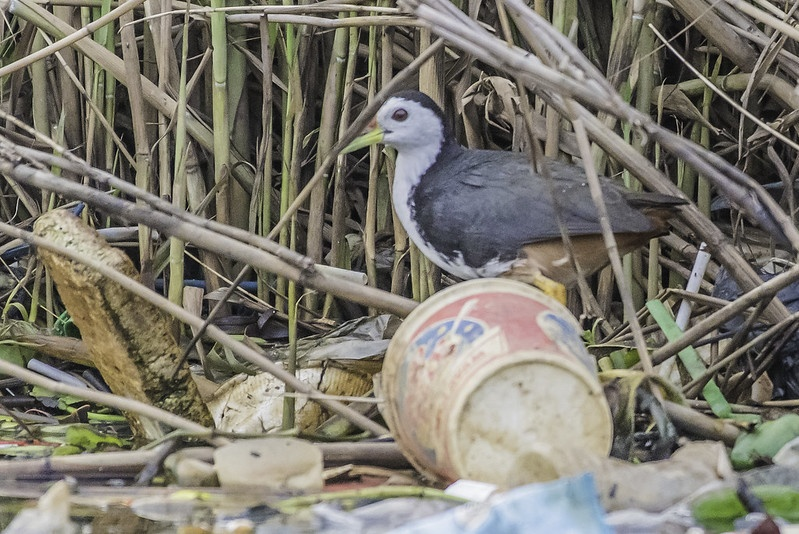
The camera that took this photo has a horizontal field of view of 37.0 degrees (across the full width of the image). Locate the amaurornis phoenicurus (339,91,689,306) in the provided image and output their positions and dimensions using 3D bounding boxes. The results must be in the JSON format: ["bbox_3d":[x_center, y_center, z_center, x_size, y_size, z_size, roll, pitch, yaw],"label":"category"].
[{"bbox_3d":[0.315,-0.152,3.256,0.889,0.593,0.333,4,14,27],"label":"amaurornis phoenicurus"}]

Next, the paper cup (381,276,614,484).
[{"bbox_3d":[0.169,0.193,2.499,0.428,0.412,0.319,6,5,-18],"label":"paper cup"}]

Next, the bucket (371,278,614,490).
[{"bbox_3d":[0.167,0.257,2.513,0.428,0.412,0.319,8,4,-18],"label":"bucket"}]
